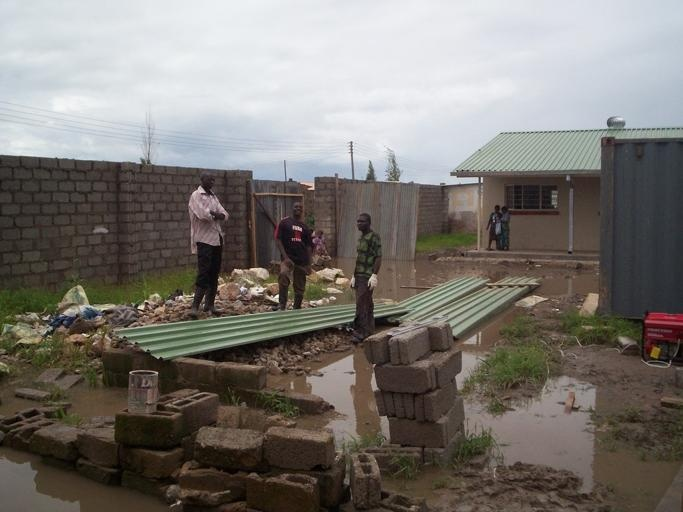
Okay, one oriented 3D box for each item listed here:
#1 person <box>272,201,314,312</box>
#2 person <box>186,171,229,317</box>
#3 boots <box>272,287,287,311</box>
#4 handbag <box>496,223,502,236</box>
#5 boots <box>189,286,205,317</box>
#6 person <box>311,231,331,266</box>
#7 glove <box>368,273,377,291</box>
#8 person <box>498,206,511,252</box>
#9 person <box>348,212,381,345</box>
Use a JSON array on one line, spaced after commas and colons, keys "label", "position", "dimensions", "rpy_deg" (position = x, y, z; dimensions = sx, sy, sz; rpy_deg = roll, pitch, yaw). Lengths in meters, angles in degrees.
[{"label": "person", "position": [-0.878, 0.047, 9.644], "dimensions": [0.693, 2.104, 0.570], "rpy_deg": [5, -7, -28]}, {"label": "person", "position": [-2.181, -0.170, 8.214], "dimensions": [0.550, 2.256, 0.788], "rpy_deg": [-1, 8, 6]}, {"label": "boots", "position": [-1.151, 0.793, 9.528], "dimensions": [0.288, 0.399, 0.494], "rpy_deg": [-3, 8, -5]}, {"label": "handbag", "position": [5.992, -1.010, 19.358], "dimensions": [0.198, 0.440, 0.104], "rpy_deg": [1, 9, 17]}, {"label": "boots", "position": [-2.315, 0.711, 8.165], "dimensions": [0.229, 0.496, 0.390], "rpy_deg": [-4, 9, -15]}, {"label": "person", "position": [-0.749, -0.336, 18.419], "dimensions": [0.665, 1.338, 0.830], "rpy_deg": [-4, -16, -9]}, {"label": "glove", "position": [0.495, 0.437, 8.527], "dimensions": [0.240, 0.240, 0.200], "rpy_deg": [-5, -1, 18]}, {"label": "person", "position": [6.245, -1.032, 19.461], "dimensions": [0.342, 1.621, 0.338], "rpy_deg": [-1, 9, 8]}, {"label": "person", "position": [0.423, 0.353, 8.620], "dimensions": [0.496, 2.146, 0.849], "rpy_deg": [-2, 8, 1]}]
